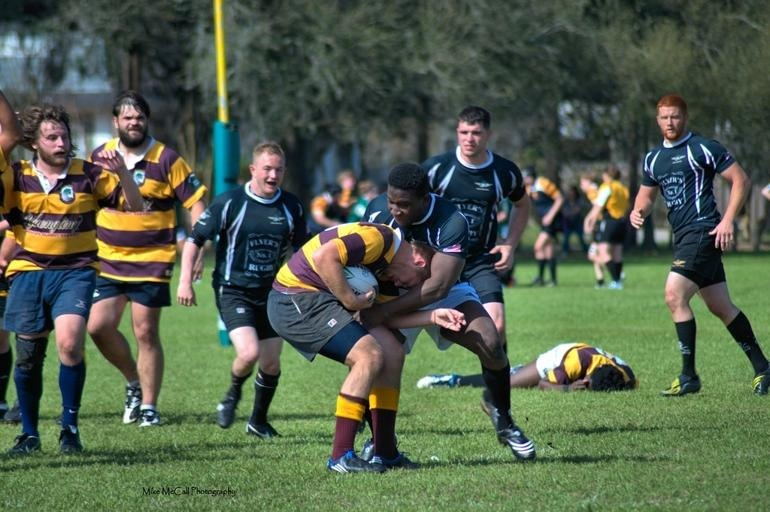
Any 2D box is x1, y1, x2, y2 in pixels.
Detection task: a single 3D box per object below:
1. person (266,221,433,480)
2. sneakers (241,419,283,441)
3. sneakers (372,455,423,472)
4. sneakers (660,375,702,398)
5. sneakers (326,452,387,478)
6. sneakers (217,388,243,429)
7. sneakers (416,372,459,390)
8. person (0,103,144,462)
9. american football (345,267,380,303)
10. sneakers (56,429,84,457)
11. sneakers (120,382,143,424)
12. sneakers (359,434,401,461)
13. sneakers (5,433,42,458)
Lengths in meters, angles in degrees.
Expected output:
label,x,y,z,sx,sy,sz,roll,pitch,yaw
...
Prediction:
label,x,y,z,sx,sy,sz,roll,pitch,yaw
person,-0.364,0.881,11.602,1.567,2.372,0.849,-3,11,-7
sneakers,-1.318,1.863,12.510,0.337,0.140,0.169,9,4,17
sneakers,0.132,2.057,11.577,0.497,0.200,0.177,0,0,-18
sneakers,3.380,1.475,13.157,0.393,0.166,0.221,-5,-3,0
sneakers,-0.283,2.047,11.455,0.542,0.236,0.213,-2,-2,6
sneakers,-1.695,1.680,12.645,0.170,0.515,0.214,17,-20,-36
sneakers,0.684,1.489,13.892,0.371,0.122,0.215,-5,-6,-28
person,-3.383,0.182,12.231,1.340,3.498,1.049,-5,12,-16
american football,-0.243,0.256,11.508,0.320,0.257,0.245,31,2,-7
sneakers,-3.271,1.938,12.025,0.183,0.236,0.533,2,-7,-13
sneakers,-2.842,1.656,13.039,0.163,0.503,0.220,-1,-15,-1
sneakers,-0.092,1.957,11.917,0.181,0.236,0.547,3,8,19
sneakers,-3.728,1.945,11.958,0.138,0.158,0.399,0,-5,17
